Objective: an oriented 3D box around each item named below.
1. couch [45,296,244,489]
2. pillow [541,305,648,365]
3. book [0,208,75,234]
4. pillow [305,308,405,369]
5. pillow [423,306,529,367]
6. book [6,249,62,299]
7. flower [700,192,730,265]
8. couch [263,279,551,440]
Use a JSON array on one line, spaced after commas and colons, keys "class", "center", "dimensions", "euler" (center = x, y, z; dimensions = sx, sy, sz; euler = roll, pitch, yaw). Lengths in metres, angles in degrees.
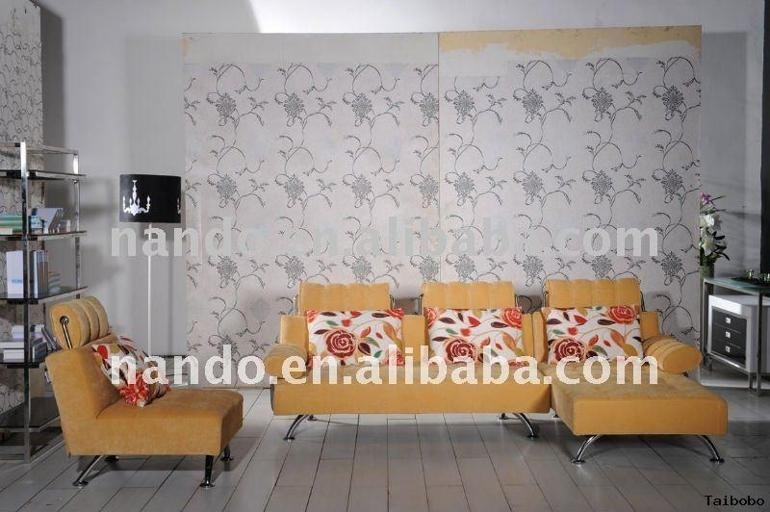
[{"class": "couch", "center": [-1.796, 1.000, 4.712], "dimensions": [1.347, 1.350, 1.327], "euler": [1, -3, -6]}, {"class": "pillow", "center": [1.841, 0.689, 4.995], "dimensions": [0.805, 0.487, 0.226], "euler": [-4, -16, -1]}, {"class": "book", "center": [-2.937, -0.277, 4.769], "dimensions": [0.393, 0.207, 0.517], "euler": [-2, 12, -9]}, {"class": "pillow", "center": [-0.276, 0.712, 5.015], "dimensions": [0.751, 0.478, 0.209], "euler": [-1, -19, -7]}, {"class": "pillow", "center": [0.825, 0.705, 5.055], "dimensions": [0.766, 0.493, 0.224], "euler": [-6, -4, 5]}, {"class": "book", "center": [-2.919, 0.154, 4.693], "dimensions": [0.234, 0.442, 0.446], "euler": [0, 1, 10]}, {"class": "flower", "center": [3.778, -0.286, 6.498], "dimensions": [0.357, 0.821, 0.650], "euler": [7, 14, 30]}, {"class": "couch", "center": [0.176, 0.898, 4.973], "dimensions": [2.278, 1.159, 0.892], "euler": [0, 12, -1]}]
